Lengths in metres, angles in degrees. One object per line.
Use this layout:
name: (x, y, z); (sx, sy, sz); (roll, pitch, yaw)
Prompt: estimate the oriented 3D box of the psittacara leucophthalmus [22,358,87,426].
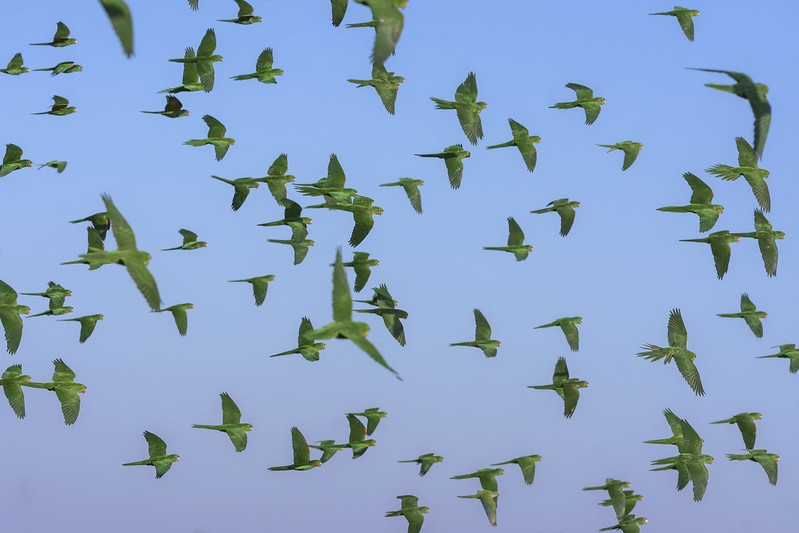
psittacara leucophthalmus: (-10.189, 3.588, 55.762); (2.090, 2.434, 0.638); (-4, -41, -32)
